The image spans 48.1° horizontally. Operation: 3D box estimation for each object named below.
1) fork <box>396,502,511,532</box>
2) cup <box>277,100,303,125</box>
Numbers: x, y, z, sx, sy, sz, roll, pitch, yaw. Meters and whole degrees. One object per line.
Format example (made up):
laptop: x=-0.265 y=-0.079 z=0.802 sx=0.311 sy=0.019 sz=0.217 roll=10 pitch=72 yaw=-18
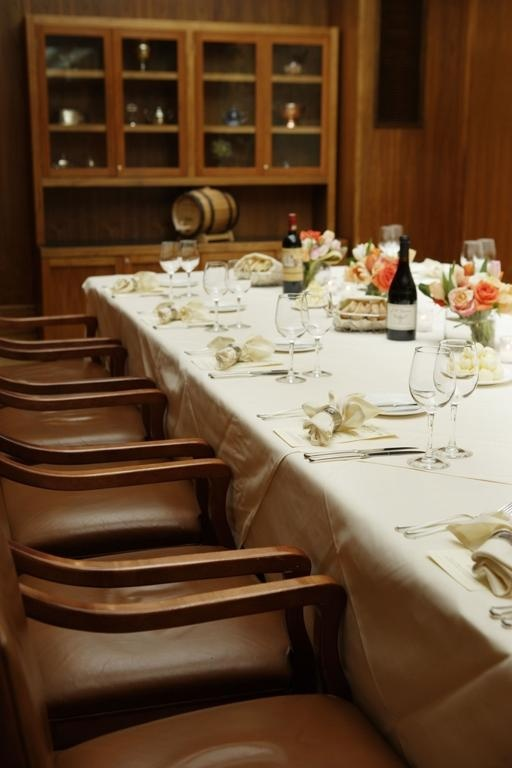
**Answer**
fork: x=0.222 y=0.148 z=0.638 sx=0.091 sy=0.015 sz=0.011 roll=-10 pitch=12 yaw=-9
cup: x=0.293 y=-2.376 z=5.077 sx=0.168 sy=0.218 sz=0.178 roll=1 pitch=-1 yaw=0
